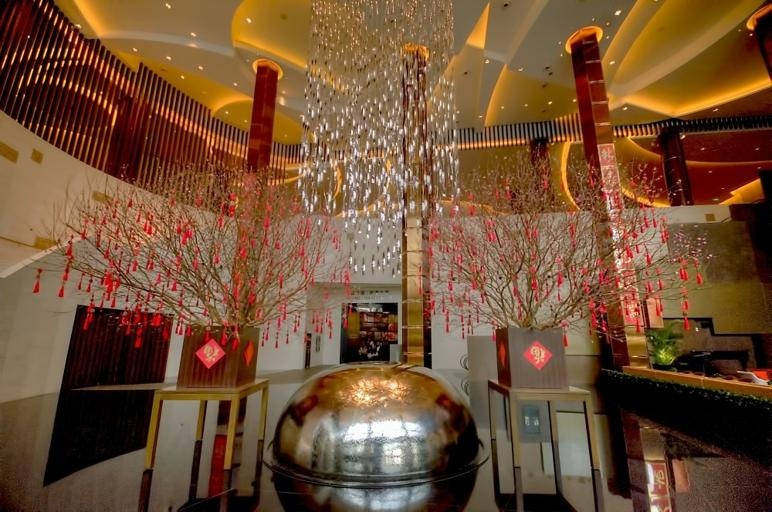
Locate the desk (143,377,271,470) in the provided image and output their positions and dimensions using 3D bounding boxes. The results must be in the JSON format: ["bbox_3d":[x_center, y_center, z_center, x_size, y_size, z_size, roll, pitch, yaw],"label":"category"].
[{"bbox_3d":[-1.972,1.732,4.630,0.956,0.810,1.016,1,-7,3],"label":"desk"}]

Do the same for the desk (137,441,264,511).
[{"bbox_3d":[-1.925,2.134,4.183,1.217,0.457,1.074,1,0,-16],"label":"desk"}]

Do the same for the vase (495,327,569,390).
[{"bbox_3d":[1.772,1.224,4.920,0.681,0.709,0.738,2,-12,-2],"label":"vase"}]

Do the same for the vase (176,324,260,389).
[{"bbox_3d":[-1.960,1.164,4.819,0.682,0.756,0.740,-1,-10,3],"label":"vase"}]

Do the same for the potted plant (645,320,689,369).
[{"bbox_3d":[6.791,2.067,9.631,0.511,1.023,2.399,-1,-1,42],"label":"potted plant"}]
